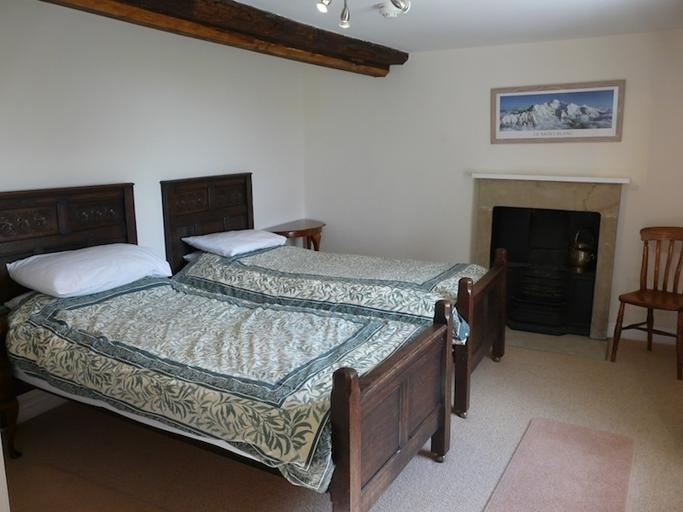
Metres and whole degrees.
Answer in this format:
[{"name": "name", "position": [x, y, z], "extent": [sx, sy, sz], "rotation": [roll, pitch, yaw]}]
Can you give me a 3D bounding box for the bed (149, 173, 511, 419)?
[{"name": "bed", "position": [-0.066, 0.119, 4.438], "extent": [2.935, 1.887, 1.665], "rotation": [10, 21, 30]}]
